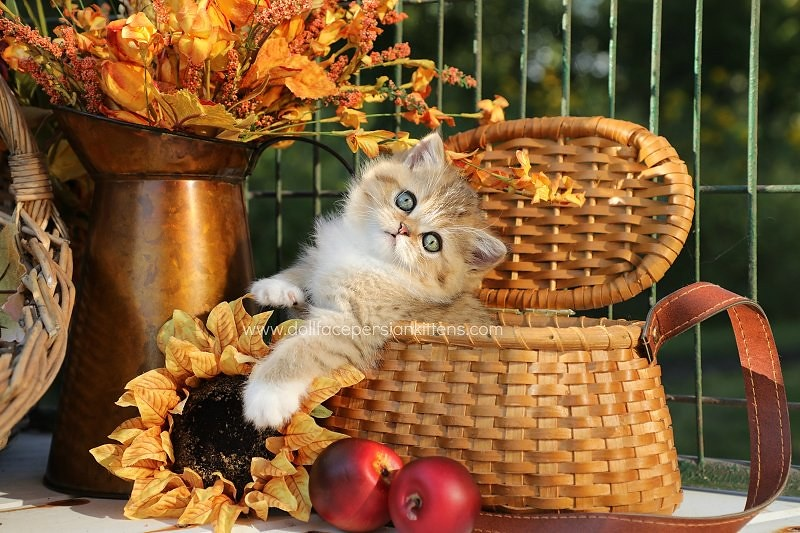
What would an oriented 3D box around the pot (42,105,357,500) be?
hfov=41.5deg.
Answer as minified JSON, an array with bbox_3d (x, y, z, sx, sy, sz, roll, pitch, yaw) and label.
[{"bbox_3d":[-0.735,0.119,2.798,0.777,1.076,0.763,5,-2,0],"label":"pot"}]

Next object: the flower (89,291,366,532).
[{"bbox_3d":[-0.442,0.383,2.453,0.544,0.580,0.208,-13,-7,10],"label":"flower"}]

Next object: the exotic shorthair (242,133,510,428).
[{"bbox_3d":[-0.086,0.023,2.606,0.760,0.345,0.611,-13,40,-15],"label":"exotic shorthair"}]
